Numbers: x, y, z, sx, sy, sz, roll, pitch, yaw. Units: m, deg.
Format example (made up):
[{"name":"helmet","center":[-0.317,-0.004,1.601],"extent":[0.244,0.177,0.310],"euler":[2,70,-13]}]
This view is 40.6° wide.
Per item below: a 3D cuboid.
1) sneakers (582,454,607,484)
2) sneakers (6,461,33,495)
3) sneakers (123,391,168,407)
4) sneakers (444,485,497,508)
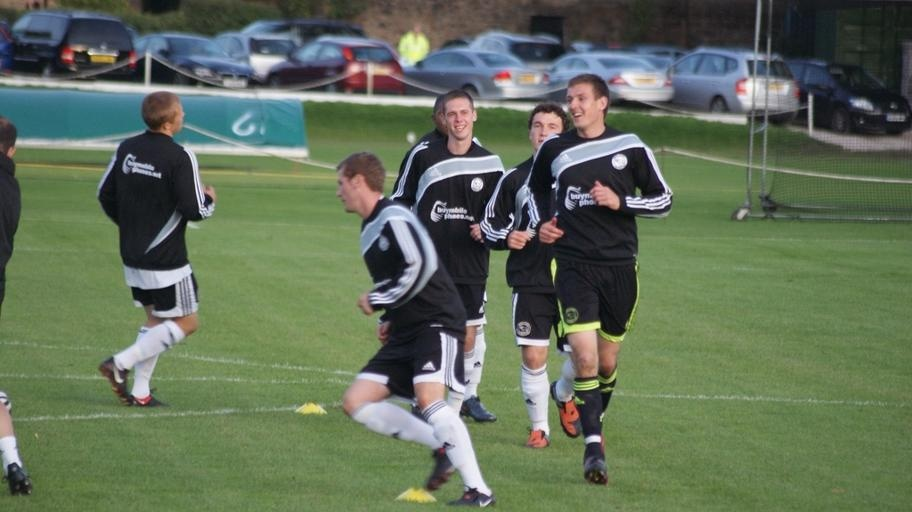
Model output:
[{"name":"sneakers","center":[1.815,2.796,15.971],"extent":[0.188,0.221,0.472],"euler":[-1,-24,3]},{"name":"sneakers","center":[-5.516,2.837,15.506],"extent":[0.264,0.418,0.181],"euler":[-24,2,-6]},{"name":"sneakers","center":[-4.332,2.021,17.267],"extent":[0.607,0.236,0.193],"euler":[0,1,-7]},{"name":"sneakers","center":[0.187,3.091,15.712],"extent":[0.664,0.270,0.226],"euler":[2,-5,0]}]
